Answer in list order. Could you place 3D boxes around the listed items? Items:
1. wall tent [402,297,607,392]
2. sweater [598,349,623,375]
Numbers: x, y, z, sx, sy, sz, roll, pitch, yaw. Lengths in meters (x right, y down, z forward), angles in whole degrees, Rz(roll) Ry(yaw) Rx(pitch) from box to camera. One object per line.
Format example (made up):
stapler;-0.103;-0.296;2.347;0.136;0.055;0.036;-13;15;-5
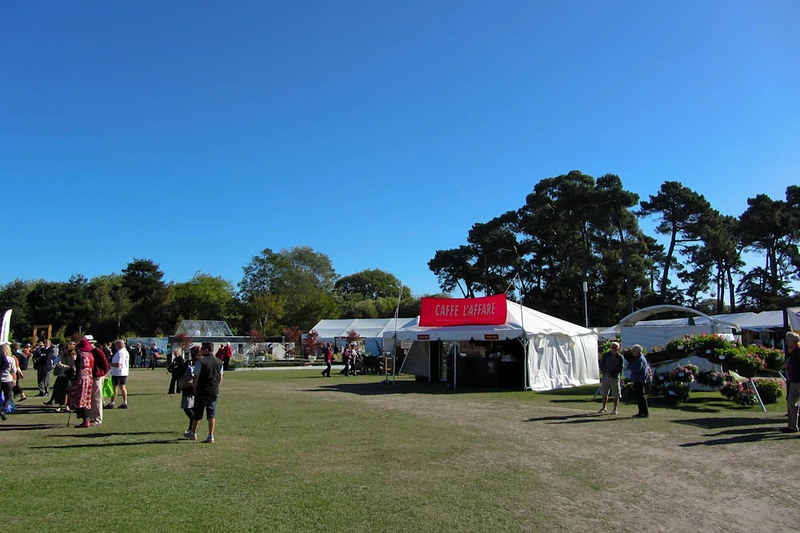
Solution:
wall tent;4.329;3.579;28.471;8.502;4.339;5.043;-6;-11;24
sweater;6.586;3.010;19.113;0.431;0.792;0.763;1;-10;-17
